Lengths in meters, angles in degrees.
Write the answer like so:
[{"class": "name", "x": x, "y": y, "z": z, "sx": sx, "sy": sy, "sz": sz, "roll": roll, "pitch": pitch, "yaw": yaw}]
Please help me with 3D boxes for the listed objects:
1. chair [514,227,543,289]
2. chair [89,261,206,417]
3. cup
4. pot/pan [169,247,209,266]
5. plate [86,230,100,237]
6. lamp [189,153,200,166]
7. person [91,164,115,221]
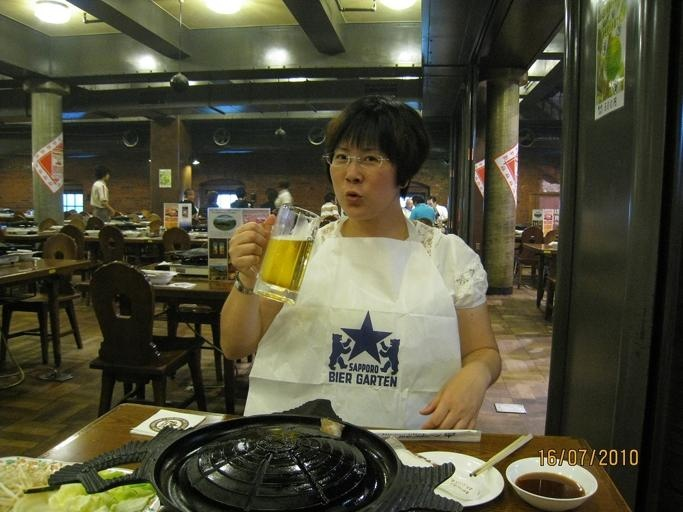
[{"class": "chair", "x": 2.756, "y": -0.018, "z": 7.670, "sx": 0.435, "sy": 0.774, "sz": 0.394, "roll": -3, "pitch": 17, "yaw": -20}, {"class": "chair", "x": -0.994, "y": 0.404, "z": 2.665, "sx": 0.434, "sy": 0.793, "sz": 0.439, "roll": 3, "pitch": 6, "yaw": 4}, {"class": "cup", "x": -0.141, "y": -0.007, "z": 1.352, "sx": 0.160, "sy": 0.248, "sz": 0.102, "roll": 2, "pitch": 6, "yaw": -5}, {"class": "pot/pan", "x": -0.977, "y": 0.003, "z": 3.352, "sx": 0.212, "sy": 0.058, "sz": 0.156, "roll": 2, "pitch": 3, "yaw": 29}, {"class": "plate", "x": -3.076, "y": -0.282, "z": 6.459, "sx": 0.146, "sy": 0.045, "sz": 0.127, "roll": -1, "pitch": 6, "yaw": 5}, {"class": "lamp", "x": -4.087, "y": -2.680, "z": 14.608, "sx": 0.215, "sy": 0.343, "sz": 2.820, "roll": 1, "pitch": 6, "yaw": -15}, {"class": "person", "x": -3.886, "y": -1.017, "z": 8.493, "sx": 0.327, "sy": 0.889, "sz": 1.305, "roll": 0, "pitch": 6, "yaw": -23}]
